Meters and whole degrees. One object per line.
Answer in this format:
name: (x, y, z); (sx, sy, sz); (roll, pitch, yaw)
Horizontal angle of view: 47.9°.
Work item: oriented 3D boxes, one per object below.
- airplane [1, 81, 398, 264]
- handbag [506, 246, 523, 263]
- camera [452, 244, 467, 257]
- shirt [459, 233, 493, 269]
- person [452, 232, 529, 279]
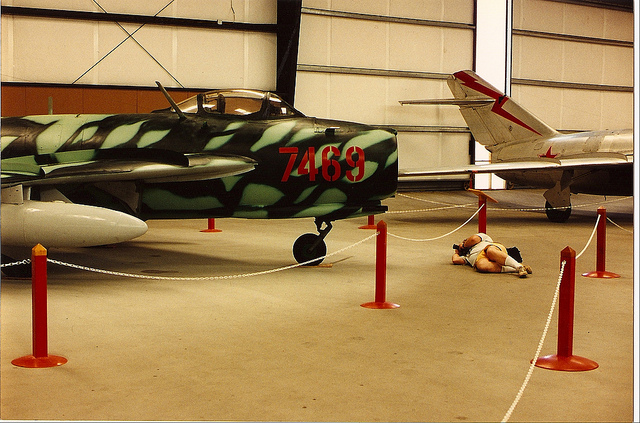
airplane: (-2.232, -0.778, 12.575); (5.164, 1.993, 4.519); (-1, 6, -2)
handbag: (3.515, 0.813, 13.161); (0.338, 0.281, 0.081); (0, -31, -25)
camera: (2.596, 0.720, 13.495); (0.261, 0.081, 0.183); (22, 2, 10)
shirt: (2.896, 0.723, 13.235); (0.458, 0.605, 0.549); (1, 6, -6)
person: (3.070, 0.825, 13.209); (1.513, 0.742, 0.594); (26, 62, 29)
